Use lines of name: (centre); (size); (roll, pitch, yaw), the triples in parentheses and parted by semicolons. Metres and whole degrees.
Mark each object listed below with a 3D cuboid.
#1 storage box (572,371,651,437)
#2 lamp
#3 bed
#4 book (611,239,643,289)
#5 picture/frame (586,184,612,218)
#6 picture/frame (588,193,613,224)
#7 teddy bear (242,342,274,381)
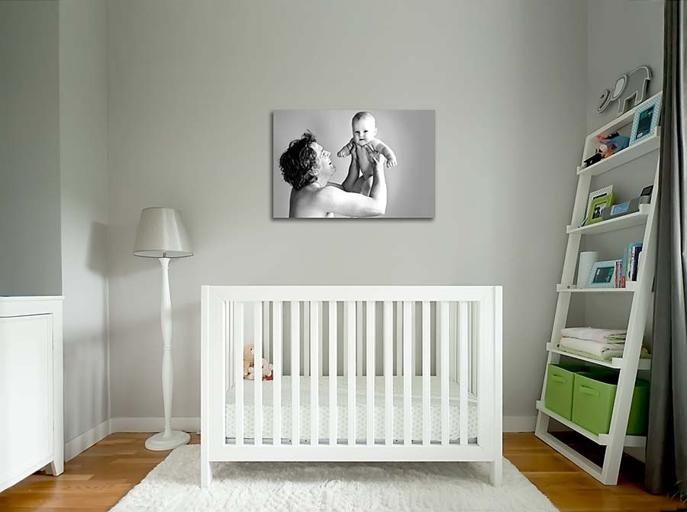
storage box: (1.594, 0.861, 3.360); (0.309, 0.337, 0.328); (4, 0, -13)
lamp: (-1.186, 0.453, 3.696); (0.365, 1.541, 0.467); (0, 4, -21)
bed: (0.026, 0.771, 3.537); (1.594, 1.196, 0.918); (0, -4, -1)
book: (1.691, 0.056, 3.352); (0.137, 0.258, 0.243); (8, -12, -39)
picture/frame: (1.666, -0.352, 3.671); (0.016, 0.233, 0.176); (23, -30, -12)
picture/frame: (1.655, -0.300, 3.613); (0.021, 0.221, 0.158); (23, -25, -10)
teddy bear: (-0.542, 0.671, 3.537); (0.227, 0.235, 0.187); (9, -47, -3)
